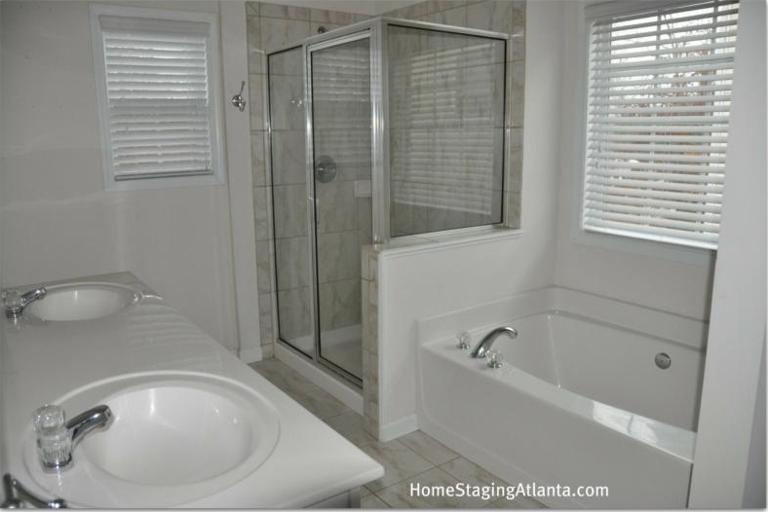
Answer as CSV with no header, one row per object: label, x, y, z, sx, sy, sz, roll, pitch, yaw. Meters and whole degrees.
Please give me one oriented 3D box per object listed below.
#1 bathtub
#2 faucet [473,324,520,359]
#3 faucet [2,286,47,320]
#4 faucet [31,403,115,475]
bathtub,0.822,0.691,2.550,1.230,0.512,0.912,10,22,31
faucet,0.560,0.429,2.634,0.258,0.107,0.079,-28,29,-9
faucet,-1.383,0.172,2.005,0.138,0.095,0.041,-26,-4,-22
faucet,-0.883,0.495,1.495,0.108,0.132,0.220,15,19,29
